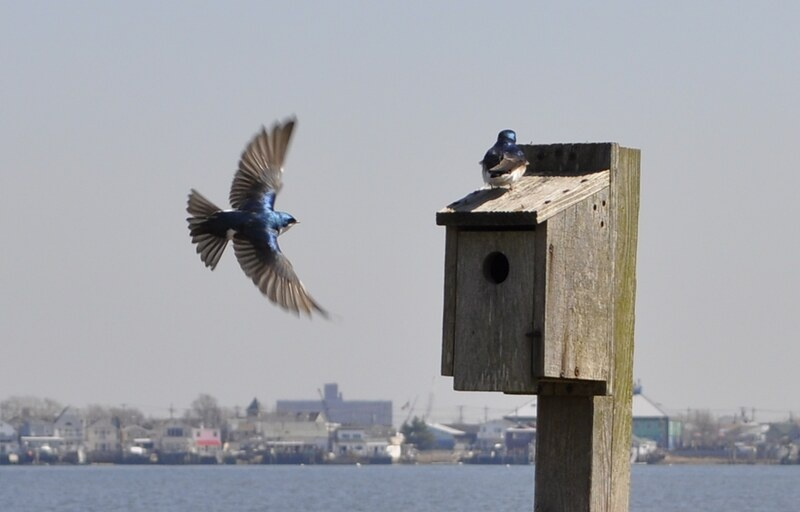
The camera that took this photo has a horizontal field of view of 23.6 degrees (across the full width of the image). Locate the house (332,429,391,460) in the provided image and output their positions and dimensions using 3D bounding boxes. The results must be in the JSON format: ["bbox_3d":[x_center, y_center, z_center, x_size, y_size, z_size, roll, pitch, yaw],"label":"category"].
[{"bbox_3d":[-7.751,34.197,348.685,7.875,4.321,5.967,3,-8,-22],"label":"house"}]

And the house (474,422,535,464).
[{"bbox_3d":[18.944,34.386,356.442,11.586,7.943,6.482,0,6,-11],"label":"house"}]

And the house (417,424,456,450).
[{"bbox_3d":[7.143,33.829,356.234,3.622,4.475,6.384,-5,-13,45],"label":"house"}]
